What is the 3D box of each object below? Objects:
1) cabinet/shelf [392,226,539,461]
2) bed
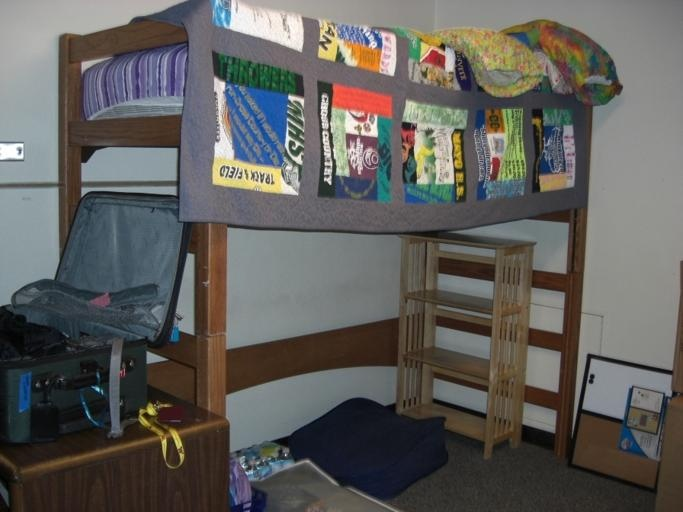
[{"bbox_3d":[1.000,0.684,4.807,0.648,2.233,1.271,-6,11,-37],"label":"cabinet/shelf"},{"bbox_3d":[0.169,0.157,3.953,3.354,2.809,1.571,-6,8,-42],"label":"bed"}]
